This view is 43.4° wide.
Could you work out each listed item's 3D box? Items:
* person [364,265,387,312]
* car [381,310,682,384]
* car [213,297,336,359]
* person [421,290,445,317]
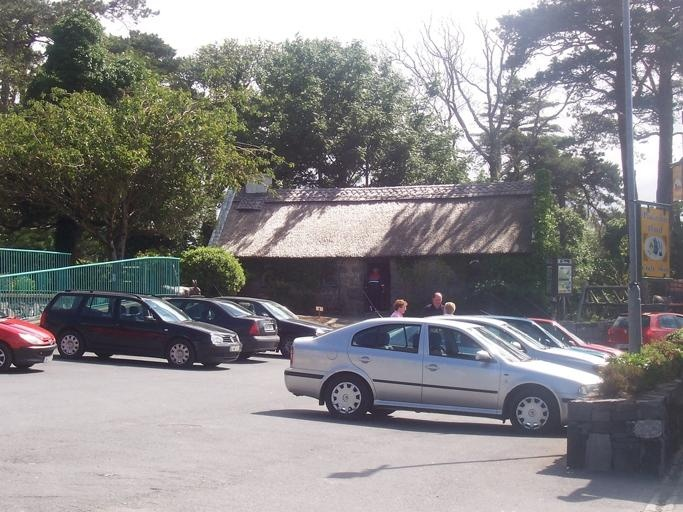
[{"bbox_3d":[1.447,1.492,37.981,0.804,1.990,0.839,-3,9,-34],"label":"person"},{"bbox_3d":[4.409,1.970,17.953,4.056,1.522,1.806,3,1,14],"label":"car"},{"bbox_3d":[-2.036,2.124,25.878,3.660,1.371,1.535,1,1,21],"label":"car"},{"bbox_3d":[3.003,1.536,28.411,1.154,1.068,0.632,-1,-1,-43],"label":"person"}]
